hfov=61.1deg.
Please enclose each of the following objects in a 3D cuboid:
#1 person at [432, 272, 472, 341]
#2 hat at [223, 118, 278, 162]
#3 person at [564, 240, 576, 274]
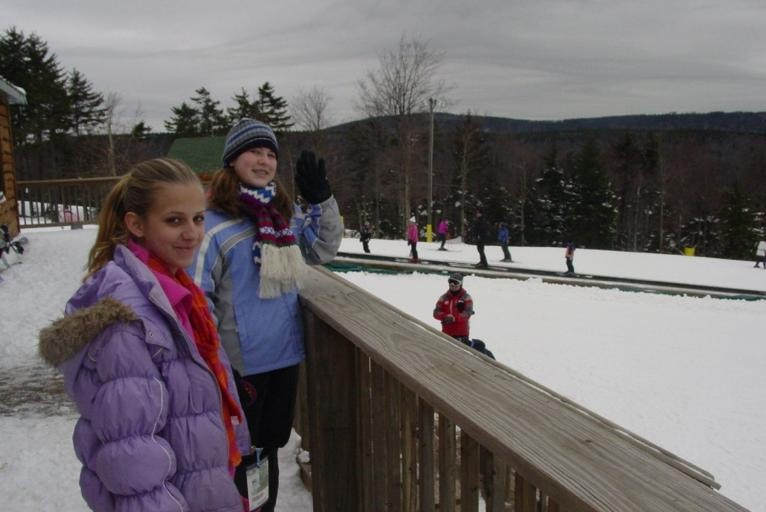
[{"bbox_3d":[1.160,0.993,10.845,0.604,1.243,1.686,2,12,7],"label":"person"},{"bbox_3d":[-0.969,-0.770,4.688,0.316,0.322,0.334,-11,6,-9],"label":"hat"},{"bbox_3d":[6.077,0.013,21.097,0.316,1.237,1.804,4,13,17],"label":"person"}]
